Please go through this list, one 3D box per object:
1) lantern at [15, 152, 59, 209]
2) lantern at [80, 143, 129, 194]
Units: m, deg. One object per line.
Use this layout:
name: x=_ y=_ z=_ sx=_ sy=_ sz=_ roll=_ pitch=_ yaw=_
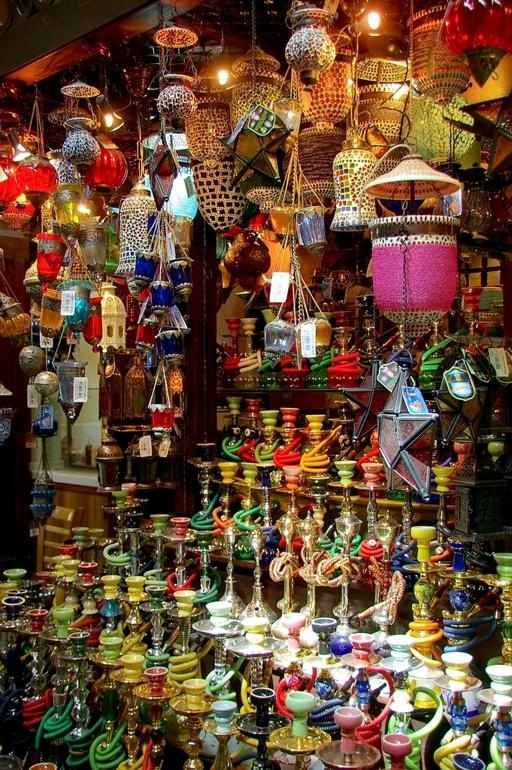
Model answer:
lantern: x=-0.664 y=-0.616 z=2.046 sx=0.142 sy=0.144 sz=0.130 roll=1 pitch=1 yaw=-22
lantern: x=-0.430 y=-0.626 z=1.918 sx=0.115 sy=0.123 sz=0.137 roll=0 pitch=3 yaw=-15
